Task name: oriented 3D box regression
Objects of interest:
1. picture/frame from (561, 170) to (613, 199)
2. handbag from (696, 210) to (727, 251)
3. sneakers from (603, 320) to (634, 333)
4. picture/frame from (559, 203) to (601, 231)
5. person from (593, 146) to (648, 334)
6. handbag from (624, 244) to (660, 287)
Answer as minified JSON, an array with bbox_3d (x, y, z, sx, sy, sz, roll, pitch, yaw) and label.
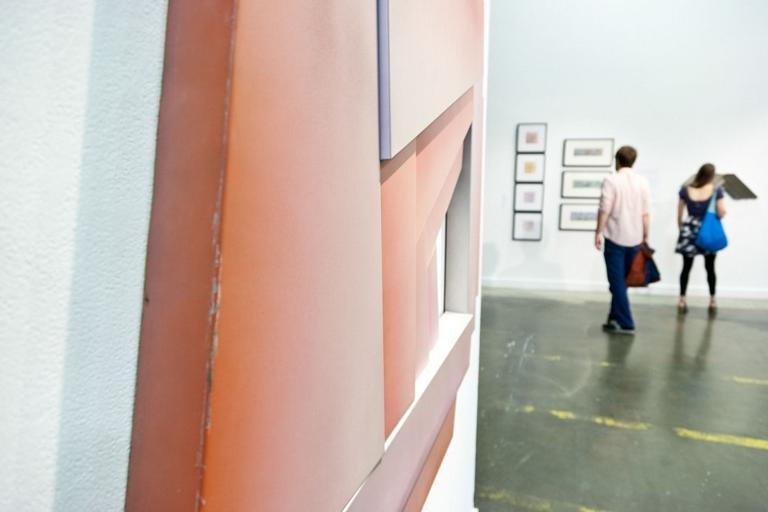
[{"bbox_3d":[1.906,-0.680,5.443,0.417,0.290,0.045,3,3,16],"label":"picture/frame"},{"bbox_3d":[2.565,-0.183,4.558,0.203,0.337,0.194,4,7,32],"label":"handbag"},{"bbox_3d":[1.551,0.475,3.878,0.196,0.098,0.076,10,11,39],"label":"sneakers"},{"bbox_3d":[1.919,-0.387,5.661,0.310,0.249,0.033,2,1,20],"label":"picture/frame"},{"bbox_3d":[1.523,-0.084,3.711,0.286,1.198,0.266,4,7,30],"label":"person"},{"bbox_3d":[1.624,0.051,3.672,0.200,0.288,0.109,0,-1,-24],"label":"handbag"}]
